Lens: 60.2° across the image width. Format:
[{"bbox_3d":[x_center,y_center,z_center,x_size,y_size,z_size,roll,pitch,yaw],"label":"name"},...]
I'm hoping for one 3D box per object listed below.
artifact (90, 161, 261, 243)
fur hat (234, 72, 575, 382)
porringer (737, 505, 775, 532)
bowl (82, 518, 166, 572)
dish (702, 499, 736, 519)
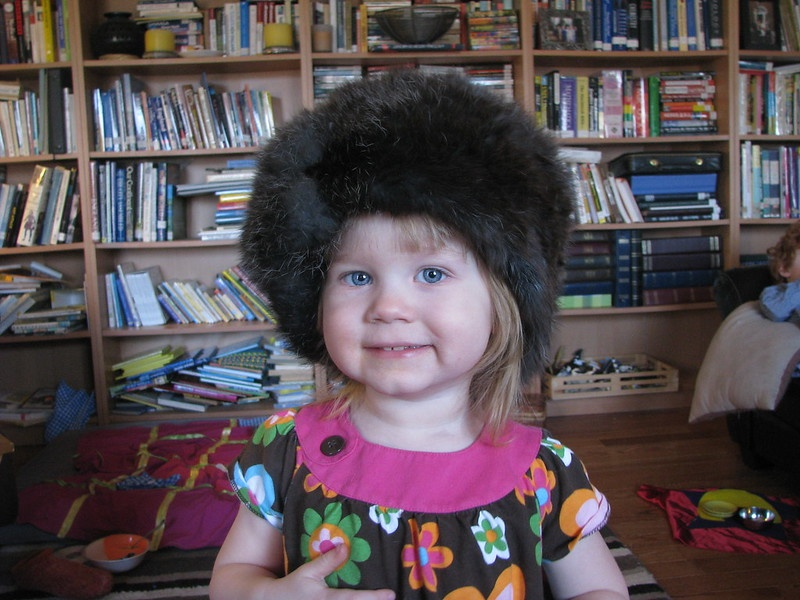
[{"bbox_3d":[-1.257,-0.527,3.572,0.334,0.398,0.903,18,20,36],"label":"artifact"},{"bbox_3d":[0.019,-0.191,1.722,0.679,0.496,0.741,1,3,-34],"label":"fur hat"},{"bbox_3d":[1.299,0.790,2.496,0.131,0.057,0.078,-1,14,6],"label":"porringer"},{"bbox_3d":[-0.959,0.868,2.345,0.192,0.075,0.173,-10,15,-31],"label":"bowl"},{"bbox_3d":[1.187,0.777,2.562,0.079,0.016,0.066,-4,11,-7],"label":"dish"}]
